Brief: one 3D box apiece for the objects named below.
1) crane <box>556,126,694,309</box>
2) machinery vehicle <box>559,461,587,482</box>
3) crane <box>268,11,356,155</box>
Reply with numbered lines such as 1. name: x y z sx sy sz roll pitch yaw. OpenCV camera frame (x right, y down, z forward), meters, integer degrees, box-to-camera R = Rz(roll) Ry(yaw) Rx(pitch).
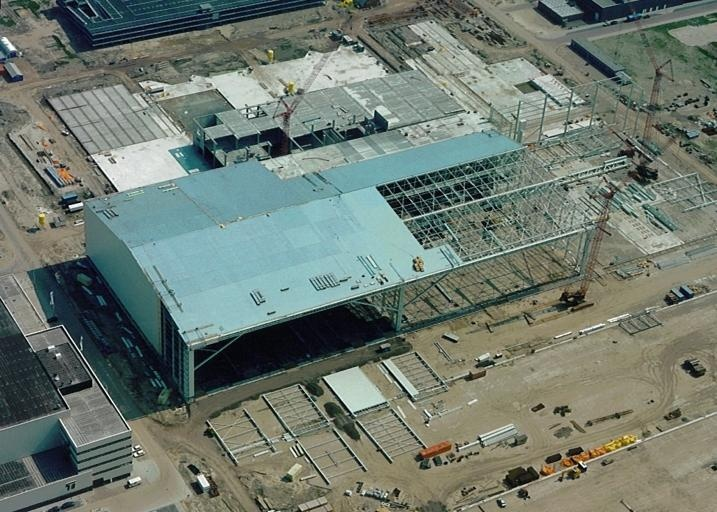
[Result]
1. crane: 70.472 -8.616 355.066 85.097 15.866 15.733 -42 -1 -45
2. machinery vehicle: 48.412 49.167 301.187 6.952 2.067 3.122 -17 42 -16
3. crane: -13.943 -49.401 389.786 41.079 40.158 13.888 19 40 33
